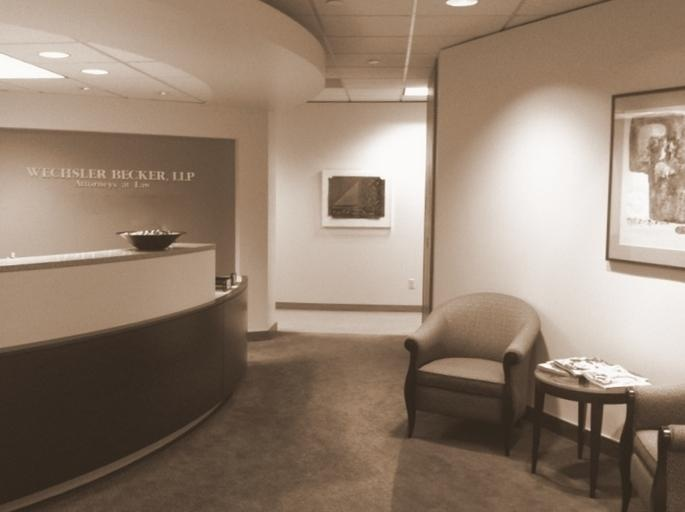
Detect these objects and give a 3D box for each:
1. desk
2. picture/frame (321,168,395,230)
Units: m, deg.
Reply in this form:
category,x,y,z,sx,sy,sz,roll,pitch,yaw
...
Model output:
category,x,y,z,sx,sy,sz,roll,pitch,yaw
desk,1.832,1.432,4.251,0.737,0.809,0.730,17,-12,-22
picture/frame,0.325,-1.051,9.230,1.080,0.850,0.050,1,8,3
